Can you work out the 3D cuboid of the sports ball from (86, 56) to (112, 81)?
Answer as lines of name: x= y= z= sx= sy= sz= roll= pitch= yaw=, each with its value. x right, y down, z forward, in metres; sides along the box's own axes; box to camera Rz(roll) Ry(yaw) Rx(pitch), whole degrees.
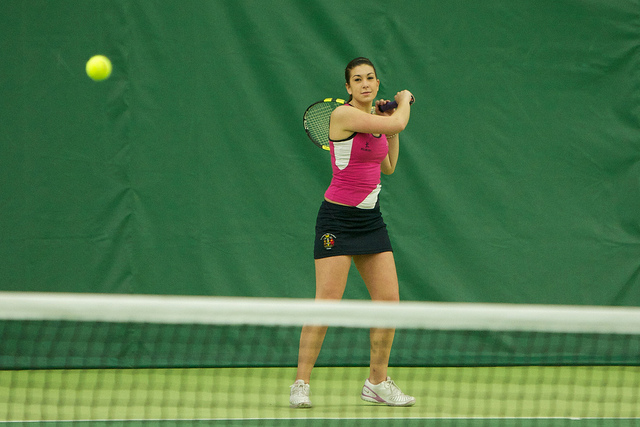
sports ball: x=-1.699 y=-1.105 z=6.033 sx=0.191 sy=0.202 sz=0.194 roll=3 pitch=18 yaw=-1

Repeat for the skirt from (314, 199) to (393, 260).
skirt: x=0.221 y=0.130 z=5.223 sx=0.622 sy=0.450 sz=0.331 roll=0 pitch=-7 yaw=-11

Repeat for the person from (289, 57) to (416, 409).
person: x=0.253 y=0.157 z=5.352 sx=0.785 sy=2.358 sz=0.986 roll=2 pitch=13 yaw=6
